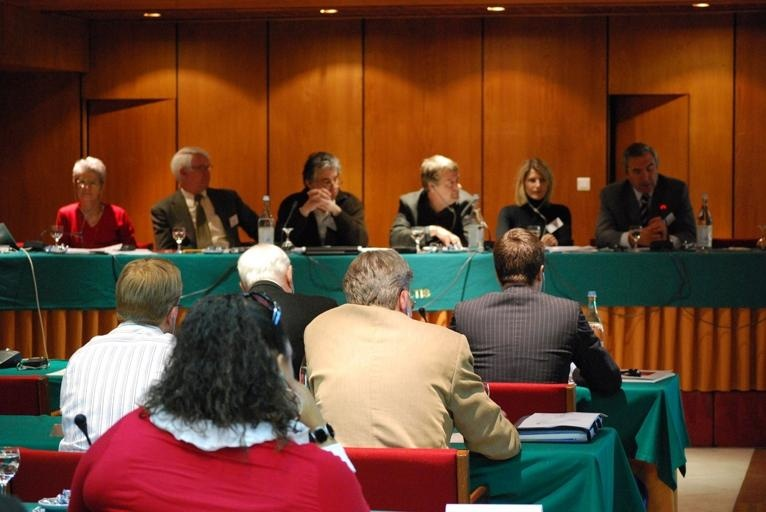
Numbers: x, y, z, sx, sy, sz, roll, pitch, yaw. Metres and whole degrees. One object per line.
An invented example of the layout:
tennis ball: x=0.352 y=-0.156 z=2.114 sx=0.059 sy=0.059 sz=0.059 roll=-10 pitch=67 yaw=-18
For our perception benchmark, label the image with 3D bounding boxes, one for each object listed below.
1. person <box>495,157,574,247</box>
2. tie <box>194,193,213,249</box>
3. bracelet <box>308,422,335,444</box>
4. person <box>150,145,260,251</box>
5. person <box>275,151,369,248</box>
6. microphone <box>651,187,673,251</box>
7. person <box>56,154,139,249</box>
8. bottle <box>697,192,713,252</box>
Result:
person: x=1.220 y=-0.422 z=6.688 sx=0.604 sy=0.820 sz=0.707 roll=2 pitch=-2 yaw=6
tie: x=-1.376 y=-0.262 z=6.292 sx=0.102 sy=0.429 sz=0.062 roll=-5 pitch=-9 yaw=-21
bracelet: x=-0.221 y=0.623 z=2.925 sx=0.051 sy=0.040 sz=0.074 roll=-7 pitch=-1 yaw=-1
person: x=-1.453 y=-0.499 z=6.978 sx=0.718 sy=1.251 sz=0.614 roll=-11 pitch=-2 yaw=-31
person: x=-0.493 y=-0.203 z=6.342 sx=0.629 sy=1.157 sz=0.584 roll=0 pitch=9 yaw=-21
microphone: x=1.979 y=-0.264 z=5.998 sx=0.129 sy=0.433 sz=0.294 roll=0 pitch=7 yaw=3
person: x=-2.277 y=-0.244 z=6.453 sx=0.659 sy=1.033 sz=0.458 roll=-6 pitch=3 yaw=-30
bottle: x=2.217 y=-0.243 z=5.746 sx=0.089 sy=0.364 sz=0.357 roll=0 pitch=4 yaw=21
